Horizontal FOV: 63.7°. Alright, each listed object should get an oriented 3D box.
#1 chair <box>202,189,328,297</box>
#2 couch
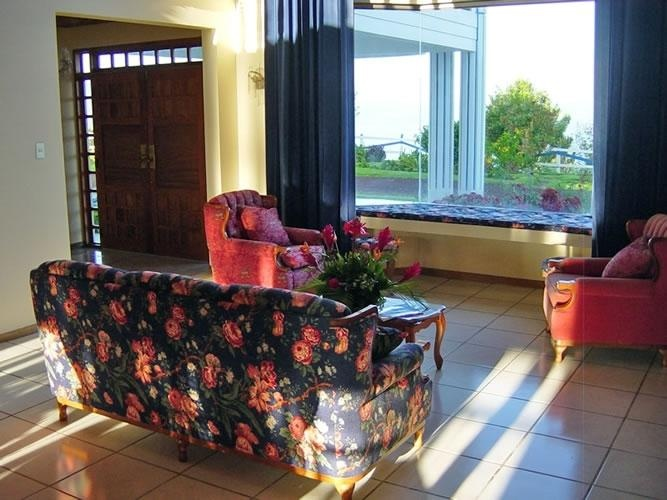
[{"bbox_3d":[-0.590,-0.133,6.027,1.287,1.456,1.031,4,10,31],"label":"chair"},{"bbox_3d":[-0.697,0.686,3.233,2.200,1.126,0.485,5,16,20],"label":"couch"}]
